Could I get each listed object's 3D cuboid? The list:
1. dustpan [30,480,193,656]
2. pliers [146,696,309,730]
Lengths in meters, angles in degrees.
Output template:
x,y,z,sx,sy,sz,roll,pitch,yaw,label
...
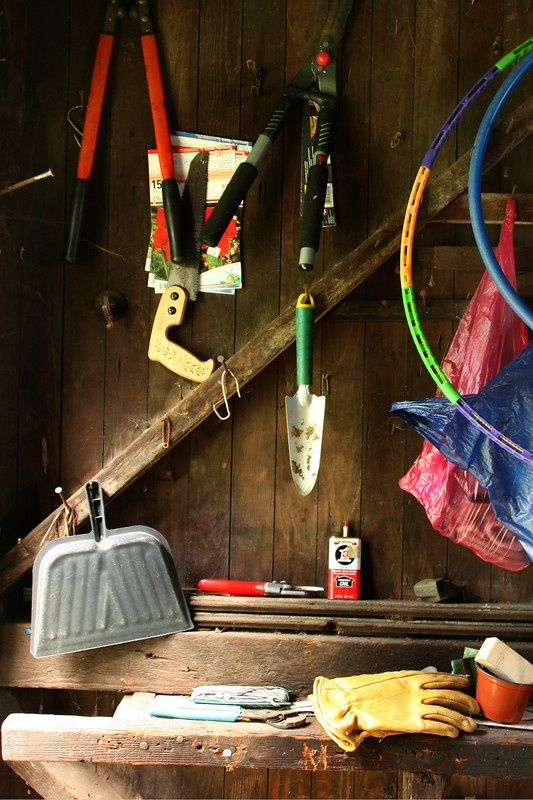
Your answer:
x,y,z,sx,sy,sz,roll,pitch,yaw,label
-0.352,0.357,2.063,0.345,0.111,0.340,-5,65,-14,dustpan
-0.077,0.619,1.865,0.269,0.104,0.034,0,89,5,pliers
